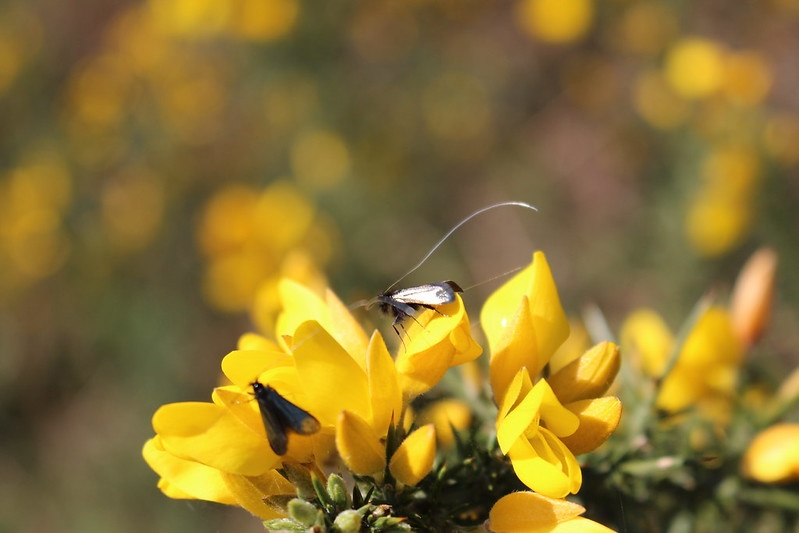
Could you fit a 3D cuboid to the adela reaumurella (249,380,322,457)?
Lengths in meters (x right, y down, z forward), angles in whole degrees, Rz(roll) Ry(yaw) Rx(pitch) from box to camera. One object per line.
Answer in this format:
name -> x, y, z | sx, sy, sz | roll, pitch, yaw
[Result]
adela reaumurella -> -0.112, 0.142, 0.930 | 0.055, 0.020, 0.078 | -38, 88, -4
